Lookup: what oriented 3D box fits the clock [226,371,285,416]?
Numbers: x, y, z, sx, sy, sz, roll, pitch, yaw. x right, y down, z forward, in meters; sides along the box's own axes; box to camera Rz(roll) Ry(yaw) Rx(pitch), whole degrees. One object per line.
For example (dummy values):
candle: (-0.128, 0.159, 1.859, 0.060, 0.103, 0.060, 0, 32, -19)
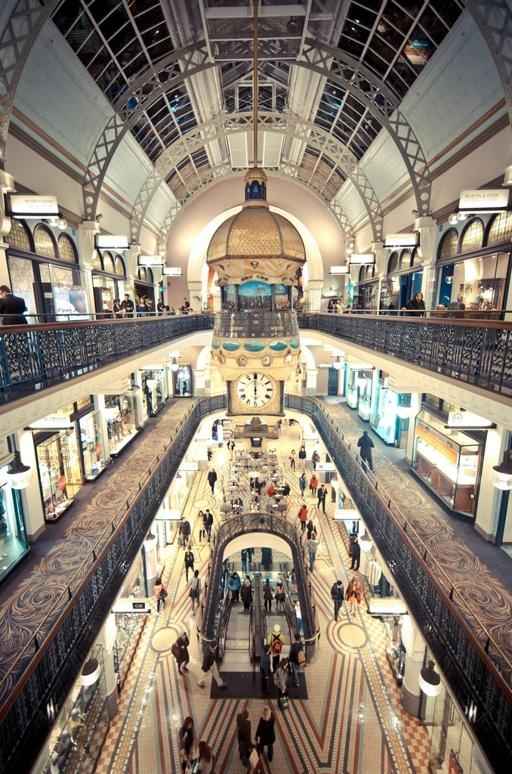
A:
clock: (-0.024, 0.178, 13.397, 1.303, 1.445, 0.147, -1, 14, -2)
